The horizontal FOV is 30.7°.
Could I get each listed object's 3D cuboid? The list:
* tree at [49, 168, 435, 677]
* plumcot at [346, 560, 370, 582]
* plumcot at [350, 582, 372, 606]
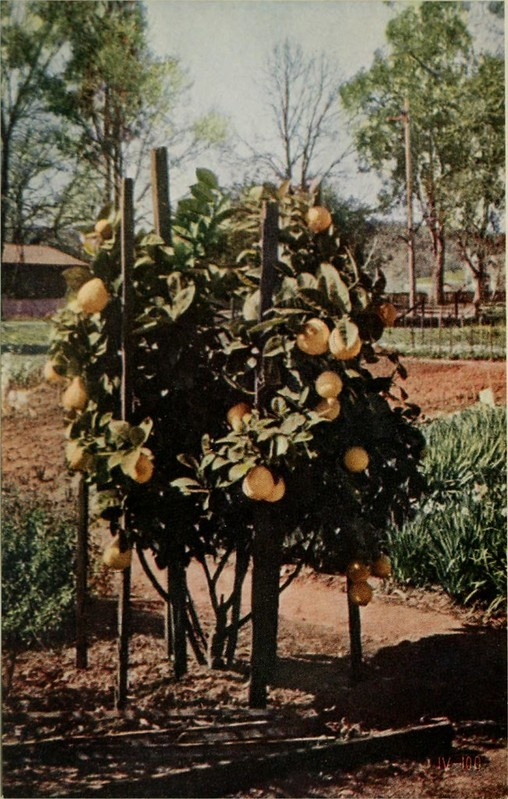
[{"bbox_3d":[-0.062,0.006,3.375,1.646,1.905,1.360,0,4,-5],"label":"tree"},{"bbox_3d":[0.353,0.574,3.116,0.070,0.049,0.076,0,-2,-3],"label":"plumcot"},{"bbox_3d":[0.377,0.675,3.219,0.077,0.087,0.075,9,-20,12],"label":"plumcot"}]
